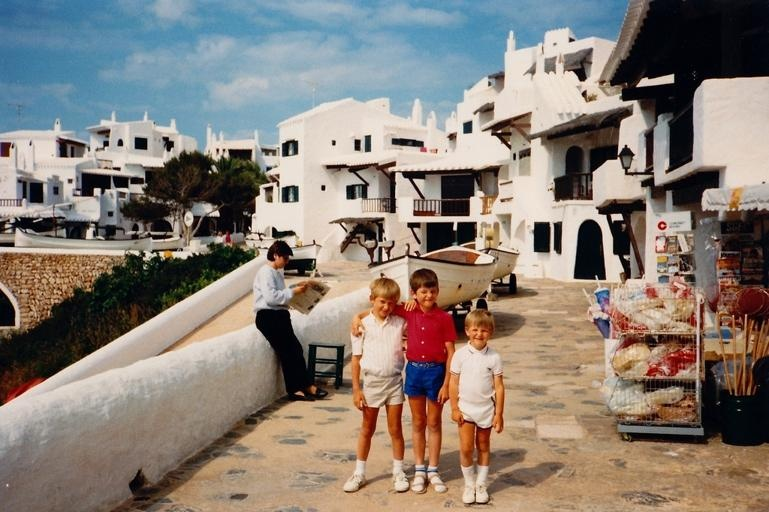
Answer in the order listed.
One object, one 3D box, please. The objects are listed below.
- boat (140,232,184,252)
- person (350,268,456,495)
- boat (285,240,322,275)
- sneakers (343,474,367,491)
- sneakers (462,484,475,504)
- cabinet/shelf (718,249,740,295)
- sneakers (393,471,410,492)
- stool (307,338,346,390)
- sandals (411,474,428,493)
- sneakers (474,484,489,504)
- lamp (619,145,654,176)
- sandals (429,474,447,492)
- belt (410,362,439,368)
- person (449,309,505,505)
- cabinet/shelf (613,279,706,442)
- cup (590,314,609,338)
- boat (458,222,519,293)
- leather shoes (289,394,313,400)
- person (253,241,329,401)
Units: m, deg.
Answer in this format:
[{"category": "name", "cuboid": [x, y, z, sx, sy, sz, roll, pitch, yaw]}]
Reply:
[{"category": "boat", "cuboid": [-14.057, -0.873, 47.738, 1.330, 1.222, 4.144, 0, 7, 23]}, {"category": "person", "cuboid": [0.563, 1.754, 10.782, 0.876, 3.117, 0.762, 1, 7, 10]}, {"category": "boat", "cuboid": [-4.133, 0.136, 36.129, 1.314, 1.368, 3.383, 1, -1, -21]}, {"category": "sneakers", "cuboid": [-0.431, 3.244, 10.736, 0.154, 0.141, 0.325, 5, 9, 34]}, {"category": "sneakers", "cuboid": [1.174, 3.314, 10.421, 0.162, 0.193, 0.448, -1, -12, 6]}, {"category": "cabinet/shelf", "cuboid": [7.554, 0.321, 16.473, 0.500, 0.931, 0.562, 2, 7, 42]}, {"category": "sneakers", "cuboid": [0.243, 3.215, 10.715, 0.225, 0.255, 0.202, 0, 7, 1]}, {"category": "stool", "cuboid": [-1.161, 2.161, 15.060, 0.826, 1.008, 0.847, 0, -3, 0]}, {"category": "sandals", "cuboid": [0.495, 3.232, 10.677, 0.218, 0.238, 0.174, -1, 7, 0]}, {"category": "sneakers", "cuboid": [1.376, 3.314, 10.452, 0.263, 0.233, 0.137, -4, 8, -30]}, {"category": "lamp", "cuboid": [7.031, -2.657, 20.989, 1.124, 0.865, 0.491, 0, -2, -9]}, {"category": "sandals", "cuboid": [0.754, 3.232, 10.671, 0.264, 0.210, 0.208, 0, 7, 2]}, {"category": "belt", "cuboid": [0.566, 1.545, 10.686, 0.425, 0.078, 0.060, 1, 7, 8]}, {"category": "person", "cuboid": [1.276, 2.087, 10.479, 0.723, 2.657, 0.515, -1, 7, -3]}, {"category": "cabinet/shelf", "cuboid": [4.424, 1.729, 12.247, 1.459, 2.426, 0.881, 2, 7, 17]}, {"category": "cup", "cuboid": [3.809, 1.243, 13.156, 0.165, 0.340, 0.438, -3, 7, -19]}, {"category": "boat", "cuboid": [4.137, 0.075, 30.393, 1.669, 2.675, 4.716, -1, 11, 5]}, {"category": "leather shoes", "cuboid": [-1.532, 2.609, 13.818, 0.465, 0.178, 0.158, -1, -3, 11]}, {"category": "person", "cuboid": [-1.772, 1.178, 13.601, 1.109, 2.975, 0.730, -2, 7, -10]}]
